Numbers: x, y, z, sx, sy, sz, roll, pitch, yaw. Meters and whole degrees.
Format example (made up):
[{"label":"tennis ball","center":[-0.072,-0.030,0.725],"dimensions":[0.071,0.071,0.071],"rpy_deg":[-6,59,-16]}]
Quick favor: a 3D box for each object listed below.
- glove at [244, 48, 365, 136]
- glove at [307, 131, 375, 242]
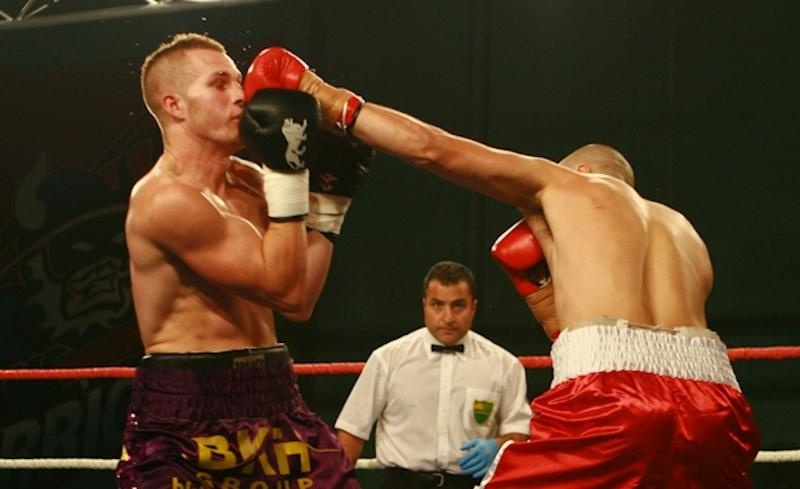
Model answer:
[{"label":"glove","center":[-0.539,-0.767,4.686],"dimensions":[0.572,0.414,0.226],"rpy_deg":[46,-27,4]},{"label":"glove","center":[-0.352,-0.333,4.851],"dimensions":[0.394,0.519,0.212],"rpy_deg":[20,3,-10]}]
